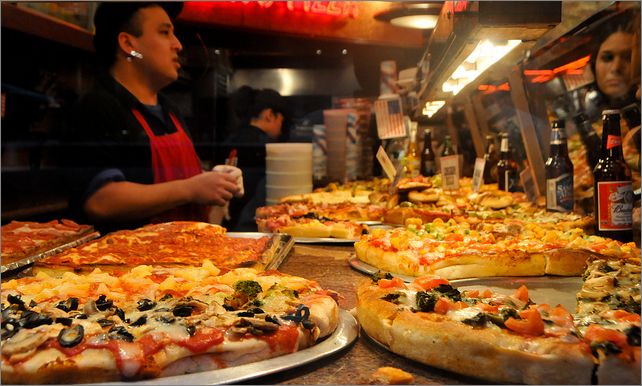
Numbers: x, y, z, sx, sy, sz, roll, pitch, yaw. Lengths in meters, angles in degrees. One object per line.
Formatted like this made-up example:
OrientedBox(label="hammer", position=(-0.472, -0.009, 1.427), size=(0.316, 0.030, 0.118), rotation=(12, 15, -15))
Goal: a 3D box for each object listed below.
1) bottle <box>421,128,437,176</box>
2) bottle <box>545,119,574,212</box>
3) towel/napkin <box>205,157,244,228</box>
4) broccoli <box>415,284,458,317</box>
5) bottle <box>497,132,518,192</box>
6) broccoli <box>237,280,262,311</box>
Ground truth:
OrientedBox(label="bottle", position=(1.253, -0.466, 4.912), size=(0.165, 0.530, 0.400), rotation=(3, 1, 23))
OrientedBox(label="bottle", position=(1.703, -0.180, 2.967), size=(0.192, 0.688, 0.298), rotation=(3, 1, 27))
OrientedBox(label="towel/napkin", position=(-0.948, 0.022, 3.990), size=(0.218, 0.642, 0.511), rotation=(17, 7, 15))
OrientedBox(label="broccoli", position=(0.440, 0.398, 1.562), size=(0.114, 0.038, 0.103), rotation=(-10, 7, -12))
OrientedBox(label="bottle", position=(1.732, -0.253, 3.836), size=(0.175, 0.531, 0.259), rotation=(3, 1, 18))
OrientedBox(label="broccoli", position=(-0.298, 0.408, 1.681), size=(0.086, 0.087, 0.086), rotation=(14, -26, 37))
